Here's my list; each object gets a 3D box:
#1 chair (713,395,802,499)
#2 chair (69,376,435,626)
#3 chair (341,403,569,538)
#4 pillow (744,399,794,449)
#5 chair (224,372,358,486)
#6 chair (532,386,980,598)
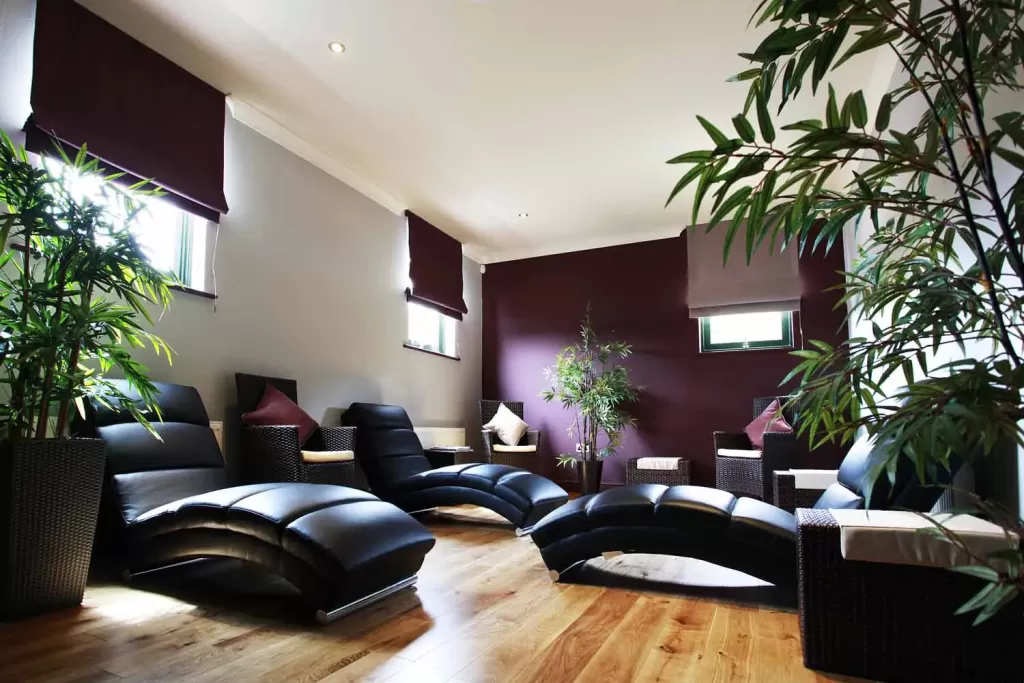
[{"bbox_3d":[2.458,1.110,6.610,0.763,1.038,0.764,0,-6,2],"label":"chair"},{"bbox_3d":[-1.624,0.812,3.932,1.655,1.114,0.883,-2,-6,22],"label":"chair"},{"bbox_3d":[-0.523,1.053,5.744,1.938,1.032,0.753,-5,-7,31],"label":"chair"},{"bbox_3d":[2.639,0.846,6.763,0.517,0.139,0.513,-24,13,-18],"label":"pillow"},{"bbox_3d":[-1.734,0.889,5.320,0.868,1.118,0.952,4,-5,8],"label":"chair"},{"bbox_3d":[1.235,0.847,3.866,1.747,1.100,0.955,-3,-13,25],"label":"chair"}]
